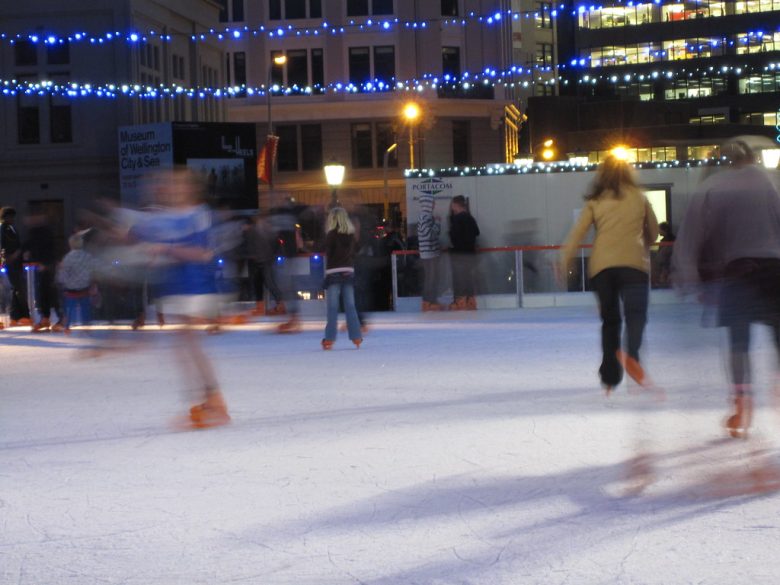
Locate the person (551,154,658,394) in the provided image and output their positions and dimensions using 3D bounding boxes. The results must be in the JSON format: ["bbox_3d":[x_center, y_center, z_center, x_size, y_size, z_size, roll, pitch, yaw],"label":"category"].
[{"bbox_3d":[2.084,-0.182,8.618,0.778,2.216,0.417,-1,4,10],"label":"person"}]
